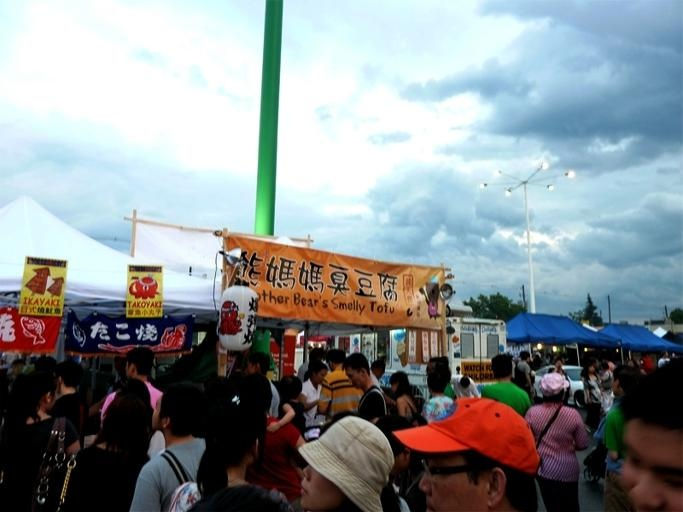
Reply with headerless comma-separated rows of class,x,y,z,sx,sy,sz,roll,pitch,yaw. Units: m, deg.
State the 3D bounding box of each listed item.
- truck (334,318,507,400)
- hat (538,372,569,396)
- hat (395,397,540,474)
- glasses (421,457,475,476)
truck,1.792,2.020,10.137,3.038,2.134,2.482,2,-15,0
hat,2.274,1.385,5.441,0.266,0.259,0.351,-3,-12,23
hat,0.684,0.849,2.670,0.572,0.259,0.397,9,-16,12
glasses,0.550,1.062,2.553,0.143,0.044,0.144,7,-8,-18
